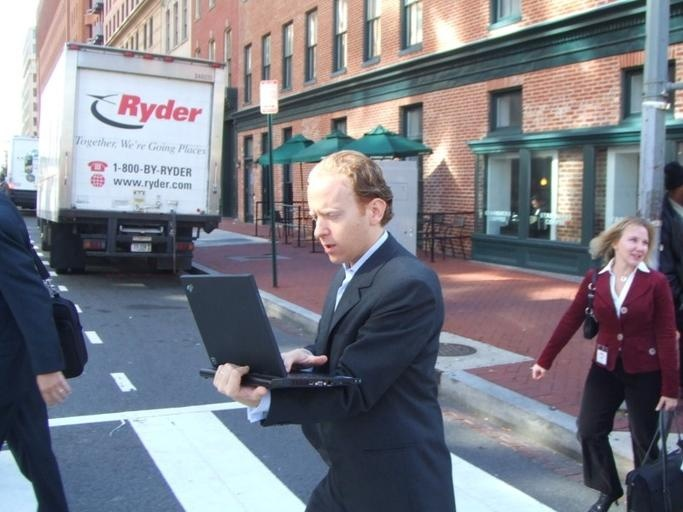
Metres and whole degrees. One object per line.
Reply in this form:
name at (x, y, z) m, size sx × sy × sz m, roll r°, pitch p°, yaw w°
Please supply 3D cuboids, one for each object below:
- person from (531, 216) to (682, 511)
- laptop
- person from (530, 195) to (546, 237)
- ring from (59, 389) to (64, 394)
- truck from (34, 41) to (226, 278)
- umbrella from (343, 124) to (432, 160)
person at (1.840, 0.696, 3.952) m, size 0.620 × 1.849 × 0.751 m, roll -3°, pitch 6°, yaw -23°
laptop at (-0.285, 0.240, 2.221) m, size 0.453 × 0.350 × 0.477 m, roll 1°, pitch 0°, yaw -36°
person at (4.607, -0.878, 13.937) m, size 0.192 × 0.792 × 0.575 m, roll 2°, pitch 2°, yaw -16°
ring at (-1.421, 0.683, 3.020) m, size 0.008 × 0.032 × 0.028 m, roll 4°, pitch 8°, yaw 43°
truck at (-5.103, -2.485, 14.044) m, size 2.698 × 3.630 × 5.745 m, roll -1°, pitch 11°, yaw -25°
umbrella at (0.853, -2.769, 14.807) m, size 1.814 × 0.634 × 1.746 m, roll -7°, pitch 9°, yaw -41°
